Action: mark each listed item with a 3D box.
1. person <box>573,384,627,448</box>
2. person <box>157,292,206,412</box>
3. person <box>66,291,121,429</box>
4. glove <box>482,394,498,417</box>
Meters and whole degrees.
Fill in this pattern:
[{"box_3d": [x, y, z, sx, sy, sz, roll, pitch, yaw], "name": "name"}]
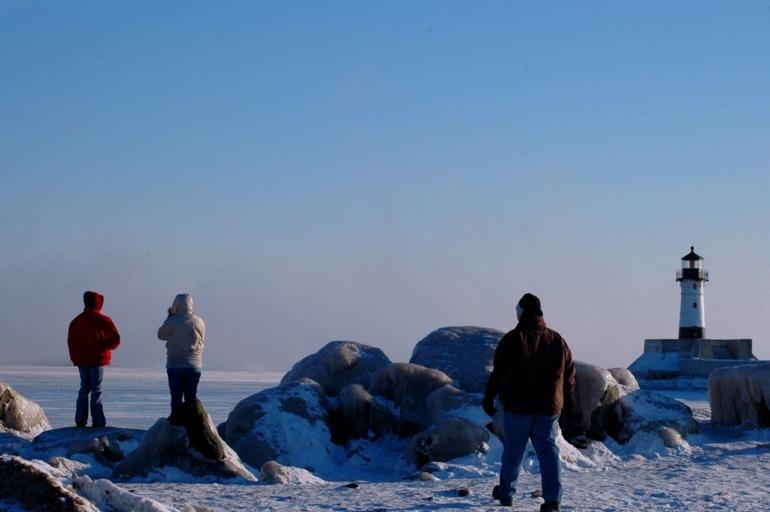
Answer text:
[{"box_3d": [5.980, 4.187, 48.505, 1.438, 1.459, 0.465, 1, -4, -31], "name": "person"}, {"box_3d": [-5.121, 2.504, 45.910, 1.018, 3.053, 0.467, -1, -3, -7], "name": "person"}, {"box_3d": [-7.554, 2.668, 46.658, 1.186, 3.475, 0.864, 0, -3, -23], "name": "person"}, {"box_3d": [2.610, 3.474, 42.976, 0.174, 0.436, 0.588, 11, 39, -9], "name": "glove"}]
